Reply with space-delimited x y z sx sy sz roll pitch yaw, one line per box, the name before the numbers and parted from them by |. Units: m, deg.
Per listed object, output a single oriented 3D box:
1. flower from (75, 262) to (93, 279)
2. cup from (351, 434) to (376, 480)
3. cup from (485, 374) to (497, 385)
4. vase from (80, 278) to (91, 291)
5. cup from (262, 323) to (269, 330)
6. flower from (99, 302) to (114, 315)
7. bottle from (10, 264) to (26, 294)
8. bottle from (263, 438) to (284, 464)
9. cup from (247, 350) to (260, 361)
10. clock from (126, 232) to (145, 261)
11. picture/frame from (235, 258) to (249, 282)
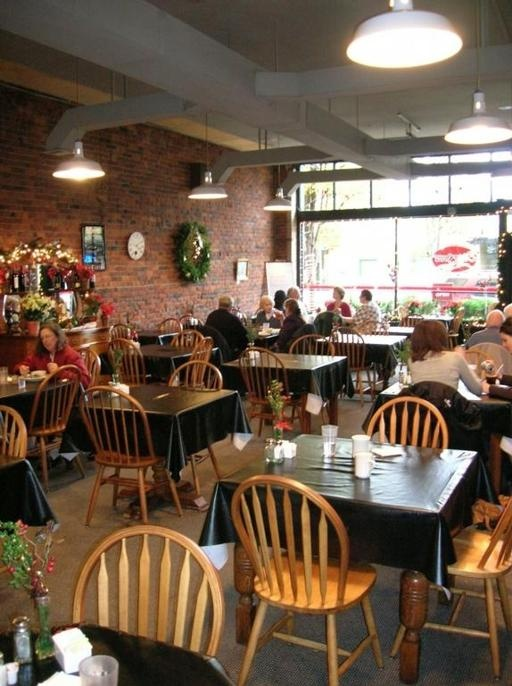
flower | -2.187 -0.926 6.826 0.151 0.204 0.216 1 6 25
cup | 0.406 0.441 2.092 0.092 0.144 0.146 -1 10 -1
cup | 1.610 0.247 3.648 0.070 0.074 0.195 -2 0 22
vase | -2.186 -0.771 6.880 0.138 0.143 0.129 4 1 -4
cup | 0.147 -0.271 8.232 0.101 0.154 0.095 2 4 0
flower | -1.947 -0.449 6.931 0.129 0.151 0.227 2 6 31
bottle | -2.699 -0.719 6.015 0.168 0.303 0.109 -3 6 -23
bottle | 0.070 0.454 2.297 0.090 0.120 0.089 -2 5 0
cup | -0.023 0.122 5.220 0.127 0.148 0.100 0 0 3
clock | -1.874 -1.506 8.211 0.060 0.437 0.447 4 9 25
picture/frame | -0.310 -1.546 11.067 0.037 0.428 0.502 5 11 23
